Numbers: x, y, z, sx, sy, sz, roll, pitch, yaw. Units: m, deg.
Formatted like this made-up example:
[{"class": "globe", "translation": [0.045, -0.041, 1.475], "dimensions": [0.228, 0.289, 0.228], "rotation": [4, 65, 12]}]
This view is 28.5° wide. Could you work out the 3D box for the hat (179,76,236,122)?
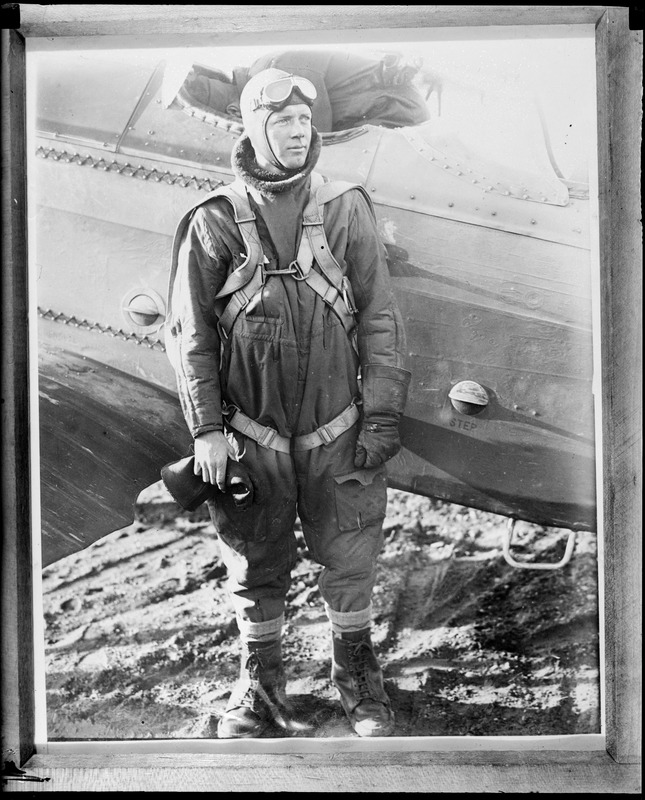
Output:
[{"class": "hat", "translation": [-0.296, -0.808, 3.367], "dimensions": [0.139, 0.098, 0.059], "rotation": [23, 27, 4]}]
